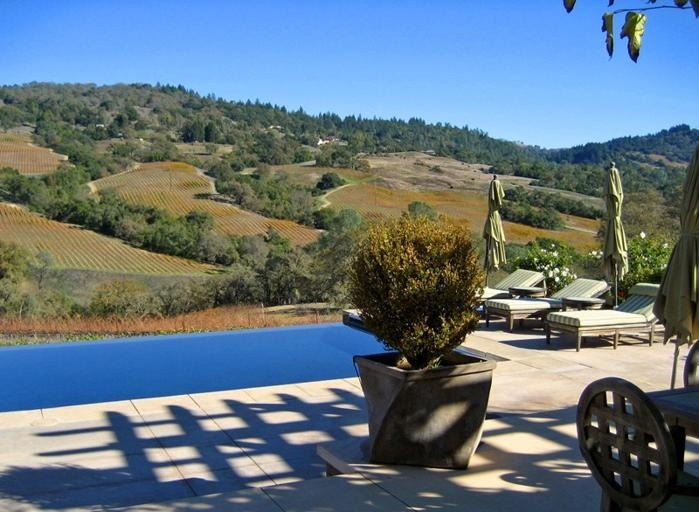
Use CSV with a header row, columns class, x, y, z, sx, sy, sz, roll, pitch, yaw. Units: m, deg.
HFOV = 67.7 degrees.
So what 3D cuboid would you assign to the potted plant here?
class,x,y,z,sx,sy,sz,roll,pitch,yaw
potted plant,0.637,0.755,4.449,1.154,1.882,1.480,-2,-7,3
